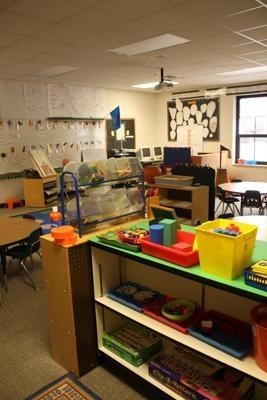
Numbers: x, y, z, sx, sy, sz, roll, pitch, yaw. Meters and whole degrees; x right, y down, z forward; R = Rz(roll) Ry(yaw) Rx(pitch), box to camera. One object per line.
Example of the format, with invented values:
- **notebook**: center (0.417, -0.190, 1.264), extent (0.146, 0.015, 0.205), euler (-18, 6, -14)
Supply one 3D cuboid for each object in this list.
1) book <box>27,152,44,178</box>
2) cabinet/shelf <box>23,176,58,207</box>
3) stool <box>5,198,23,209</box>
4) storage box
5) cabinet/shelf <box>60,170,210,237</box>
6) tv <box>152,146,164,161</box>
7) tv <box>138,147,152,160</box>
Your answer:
- **book**: center (-2.482, -0.898, 7.375), extent (0.127, 0.642, 0.632), euler (-6, 15, -11)
- **cabinet/shelf**: center (-2.407, -0.393, 7.745), extent (0.738, 0.986, 1.001), euler (1, 7, 19)
- **stool**: center (-3.095, 0.070, 7.510), extent (0.272, 0.177, 0.269), euler (-4, 9, -35)
- **storage box**: center (0.386, 0.209, 1.267), extent (0.220, 0.181, 0.241), euler (-9, 13, -44)
- **cabinet/shelf**: center (0.102, 0.015, 2.776), extent (1.284, 0.731, 0.693), euler (-13, 16, -42)
- **tv**: center (0.794, -1.506, 9.255), extent (0.195, 0.432, 0.515), euler (-5, 8, 29)
- **tv**: center (0.349, -1.412, 8.908), extent (0.180, 0.396, 0.630), euler (-3, 9, 41)
